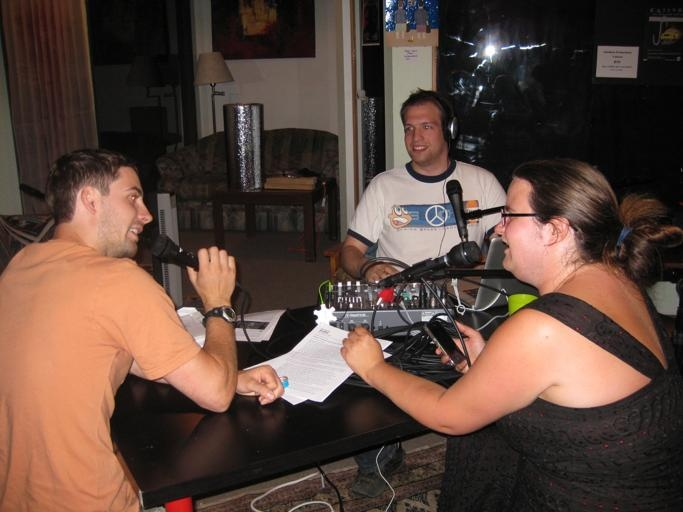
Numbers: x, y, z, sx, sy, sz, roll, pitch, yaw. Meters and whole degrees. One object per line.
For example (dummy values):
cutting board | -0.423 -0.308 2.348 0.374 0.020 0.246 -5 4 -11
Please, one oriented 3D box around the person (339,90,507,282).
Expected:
person | 0.446 -0.248 2.844 0.859 1.093 0.603 4 3 14

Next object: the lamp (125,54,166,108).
lamp | -2.658 -2.386 7.714 0.468 0.649 0.658 -4 15 -5

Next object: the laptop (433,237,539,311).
laptop | 0.507 0.000 2.015 0.240 0.139 0.219 -7 21 -13

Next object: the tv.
tv | -1.125 -0.046 3.414 0.182 0.688 0.139 -3 19 -17

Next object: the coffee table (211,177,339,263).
coffee table | -0.536 -0.454 5.251 0.929 0.618 0.971 1 14 7

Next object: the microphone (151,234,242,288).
microphone | -0.507 -0.001 1.839 0.072 0.067 0.255 -18 -24 21

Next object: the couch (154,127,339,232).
couch | -1.064 -0.921 6.583 1.980 1.063 1.036 -1 17 5

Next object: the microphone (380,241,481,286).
microphone | 0.254 0.042 1.778 0.315 0.086 0.089 -23 5 16

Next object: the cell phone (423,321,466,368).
cell phone | 0.309 0.247 1.711 0.073 0.019 0.153 -8 33 -24
